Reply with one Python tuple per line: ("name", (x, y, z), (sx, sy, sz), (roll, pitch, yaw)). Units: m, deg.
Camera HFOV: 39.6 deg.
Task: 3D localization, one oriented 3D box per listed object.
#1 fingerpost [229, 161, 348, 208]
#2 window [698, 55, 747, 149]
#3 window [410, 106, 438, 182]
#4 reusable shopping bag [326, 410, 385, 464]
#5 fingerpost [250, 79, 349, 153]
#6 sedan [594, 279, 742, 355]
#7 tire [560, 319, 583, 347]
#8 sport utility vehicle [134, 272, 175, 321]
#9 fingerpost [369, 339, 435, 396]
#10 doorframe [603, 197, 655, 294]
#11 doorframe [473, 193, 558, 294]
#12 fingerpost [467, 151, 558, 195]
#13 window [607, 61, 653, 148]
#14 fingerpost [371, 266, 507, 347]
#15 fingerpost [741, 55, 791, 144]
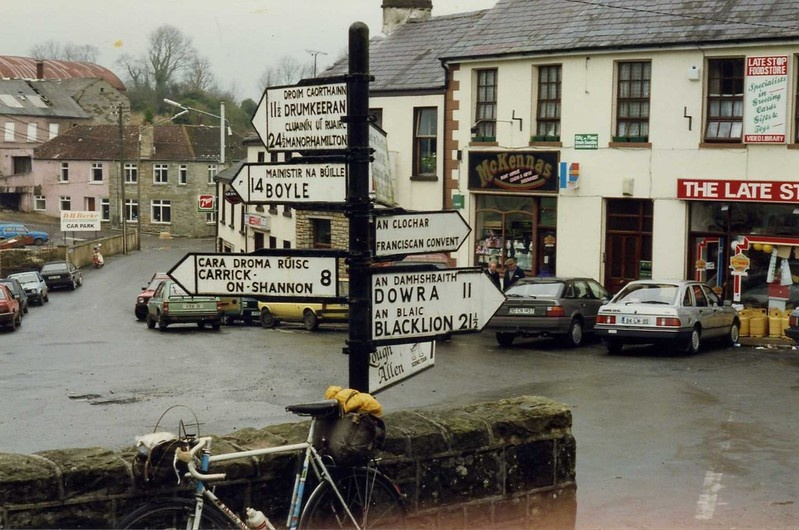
("fingerpost", (-1.608, -1.268, 16.810), (1.969, 0.682, 0.047), (0, 2, 7))
("window", (10.146, -5.189, 34.371), (1.143, 2.493, 0.188), (4, 10, 29))
("window", (1.045, -4.587, 40.705), (1.082, 2.838, 0.220), (3, -3, 20))
("reusable shopping bag", (-0.772, 2.526, 16.636), (0.945, 0.769, 1.069), (7, -1, -22))
("fingerpost", (-1.519, -2.269, 16.887), (1.779, 1.091, 0.079), (0, 1, 28))
("sedan", (7.426, 1.418, 30.109), (4.049, 1.996, 1.692), (-5, 13, -23))
("tire", (4.883, 1.871, 31.580), (0.284, 0.709, 0.704), (-2, -10, 33))
("sport utility vehicle", (-9.703, 1.017, 44.801), (1.131, 1.172, 2.569), (6, 14, 8))
("fingerpost", (0.015, 1.383, 16.891), (1.286, 0.776, 0.023), (-20, 27, -33))
("doorframe", (7.384, -0.452, 36.394), (1.474, 3.187, 0.248), (1, 8, -16))
("doorframe", (3.900, -0.800, 35.791), (3.065, 2.939, 0.272), (5, 5, 42))
("fingerpost", (3.910, -3.179, 37.886), (3.129, 1.475, 0.125), (0, 0, -4))
("window", (7.588, -5.351, 35.844), (1.081, 2.568, 0.220), (3, 4, 29))
("fingerpost", (0.589, 0.561, 16.788), (2.112, 1.056, 0.156), (-2, 2, -9))
("fingerpost", (11.163, -5.026, 33.545), (1.321, 2.649, 0.251), (6, 10, 40))
